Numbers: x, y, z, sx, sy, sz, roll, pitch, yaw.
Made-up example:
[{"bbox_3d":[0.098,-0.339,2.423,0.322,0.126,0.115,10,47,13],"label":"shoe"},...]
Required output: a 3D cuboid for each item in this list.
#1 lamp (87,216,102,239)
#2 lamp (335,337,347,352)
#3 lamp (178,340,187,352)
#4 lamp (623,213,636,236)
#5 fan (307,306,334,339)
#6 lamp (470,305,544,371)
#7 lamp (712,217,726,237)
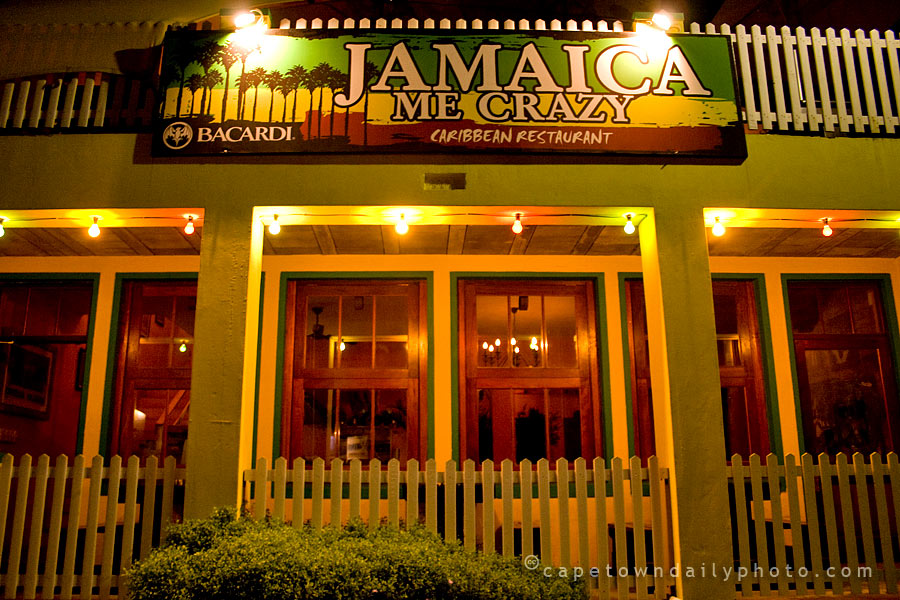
[{"bbox_3d":[-4.504,-0.945,9.646,0.201,0.336,0.199,4,-6,-24],"label":"lamp"},{"bbox_3d":[-1.620,0.649,11.378,0.138,0.209,0.037,7,-17,-19],"label":"lamp"},{"bbox_3d":[-4.042,0.677,11.485,0.122,0.166,0.039,0,-8,-16],"label":"lamp"},{"bbox_3d":[2.231,-0.976,9.535,0.153,0.321,0.154,-7,-16,32],"label":"lamp"},{"bbox_3d":[-1.947,0.318,11.414,0.299,0.511,0.092,4,-16,-10],"label":"fan"},{"bbox_3d":[0.810,0.587,11.386,0.931,0.860,0.305,1,-10,-3],"label":"lamp"},{"bbox_3d":[3.329,-0.926,9.511,0.176,0.196,0.400,-7,-17,26],"label":"lamp"}]
